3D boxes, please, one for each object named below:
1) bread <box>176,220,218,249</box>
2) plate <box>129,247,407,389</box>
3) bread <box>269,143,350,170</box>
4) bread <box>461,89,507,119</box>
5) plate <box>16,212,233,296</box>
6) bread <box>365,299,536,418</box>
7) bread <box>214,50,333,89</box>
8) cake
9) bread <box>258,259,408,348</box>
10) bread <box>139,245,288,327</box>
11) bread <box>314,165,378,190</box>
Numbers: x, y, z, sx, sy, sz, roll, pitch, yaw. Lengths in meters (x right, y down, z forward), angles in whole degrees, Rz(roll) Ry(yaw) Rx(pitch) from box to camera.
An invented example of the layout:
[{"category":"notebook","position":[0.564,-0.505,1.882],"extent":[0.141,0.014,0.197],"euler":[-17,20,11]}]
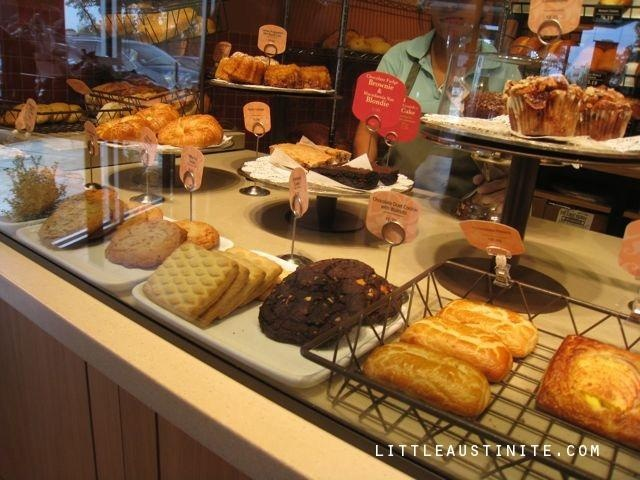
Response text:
[{"category":"bread","position":[-0.321,-0.016,1.152],"extent":[0.090,0.019,0.082],"euler":[23,21,5]},{"category":"plate","position":[-0.134,0.155,0.876],"extent":[0.559,0.079,0.255],"euler":[8,22,14]},{"category":"bread","position":[-0.053,-0.257,1.384],"extent":[0.230,0.042,0.263],"euler":[13,24,24]},{"category":"bread","position":[0.375,-0.311,1.038],"extent":[0.087,0.025,0.058],"euler":[19,46,30]},{"category":"plate","position":[-0.565,0.042,1.082],"extent":[0.330,0.028,0.231],"euler":[18,27,36]},{"category":"bread","position":[0.251,0.182,0.782],"extent":[0.156,0.054,0.250],"euler":[14,24,40]},{"category":"bread","position":[-0.183,-0.635,1.703],"extent":[0.462,0.117,0.247],"euler":[3,22,0]},{"category":"cake","position":[0.542,-0.282,0.972],"extent":[0.286,0.131,0.124],"euler":[-1,25,-9]},{"category":"bread","position":[0.014,0.088,0.837],"extent":[0.212,0.052,0.175],"euler":[-22,30,-32]},{"category":"bread","position":[-0.224,0.081,0.913],"extent":[0.183,0.065,0.226],"euler":[19,30,29]},{"category":"bread","position":[0.070,-0.170,1.191],"extent":[0.134,0.021,0.077],"euler":[16,31,13]}]
